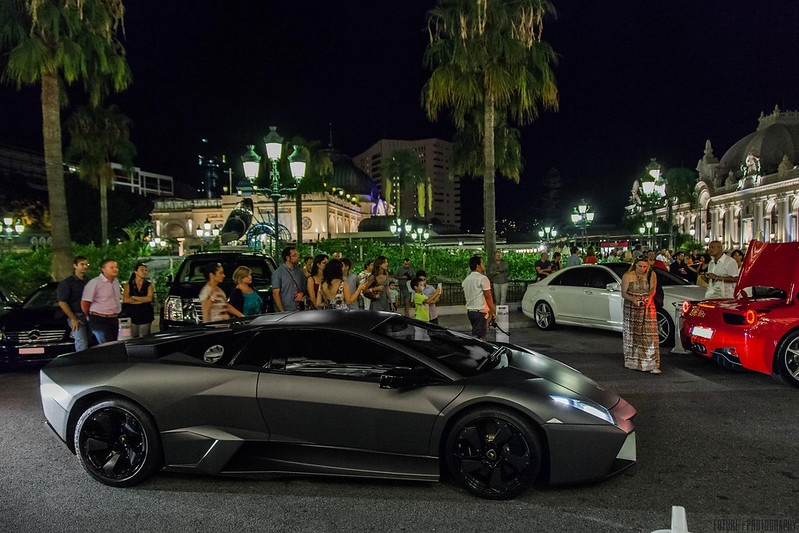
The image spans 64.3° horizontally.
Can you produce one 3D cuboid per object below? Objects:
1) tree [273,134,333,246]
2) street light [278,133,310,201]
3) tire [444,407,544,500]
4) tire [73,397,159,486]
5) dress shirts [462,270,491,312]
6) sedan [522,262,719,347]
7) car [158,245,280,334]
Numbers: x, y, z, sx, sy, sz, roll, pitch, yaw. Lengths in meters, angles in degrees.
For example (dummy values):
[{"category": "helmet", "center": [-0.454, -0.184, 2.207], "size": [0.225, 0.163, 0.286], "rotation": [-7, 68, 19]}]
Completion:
[{"category": "tree", "center": [-6.764, -4.408, 40.405], "size": [2.717, 7.603, 3.962], "rotation": [-5, 24, 4]}, {"category": "street light", "center": [-3.061, -2.658, 19.315], "size": [0.524, 1.906, 0.567], "rotation": [-2, 3, 23]}, {"category": "tire", "center": [1.150, 2.206, 7.615], "size": [1.113, 1.208, 0.461], "rotation": [2, 8, 19]}, {"category": "tire", "center": [-3.461, 2.169, 7.811], "size": [0.927, 0.996, 0.375], "rotation": [-8, -4, 6]}, {"category": "dress shirts", "center": [1.535, 0.504, 12.419], "size": [0.535, 0.824, 0.241], "rotation": [5, 15, 23]}, {"category": "sedan", "center": [5.241, 0.907, 15.661], "size": [1.687, 1.320, 3.820], "rotation": [0, -2, -39]}, {"category": "car", "center": [-4.002, 0.526, 13.677], "size": [1.583, 1.398, 2.660], "rotation": [-1, -3, -5]}]
